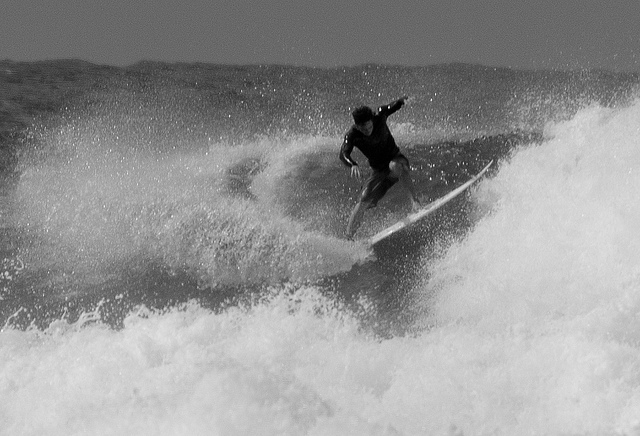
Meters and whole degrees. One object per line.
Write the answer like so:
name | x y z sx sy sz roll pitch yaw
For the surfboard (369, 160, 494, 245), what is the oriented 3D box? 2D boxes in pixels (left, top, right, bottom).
surfboard | 1.025 -0.129 10.654 1.193 0.646 0.125 -9 26 -15

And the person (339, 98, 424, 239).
person | 0.548 -0.382 10.575 0.909 0.992 0.546 -26 -3 11
